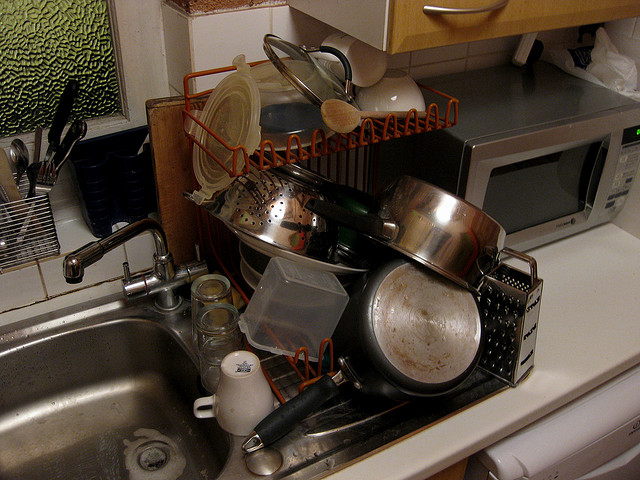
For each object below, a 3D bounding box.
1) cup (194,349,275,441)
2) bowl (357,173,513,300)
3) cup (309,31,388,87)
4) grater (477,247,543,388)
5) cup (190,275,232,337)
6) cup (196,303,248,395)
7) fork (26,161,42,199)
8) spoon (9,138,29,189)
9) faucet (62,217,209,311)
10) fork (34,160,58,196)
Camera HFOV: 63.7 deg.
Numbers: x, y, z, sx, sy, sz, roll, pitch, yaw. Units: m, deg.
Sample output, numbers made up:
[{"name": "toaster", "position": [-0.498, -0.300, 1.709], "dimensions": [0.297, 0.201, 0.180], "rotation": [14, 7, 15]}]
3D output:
[{"name": "cup", "position": [-0.154, 0.277, 1.032], "dimensions": [0.165, 0.168, 0.120], "rotation": [-10, 30, -14]}, {"name": "bowl", "position": [0.231, -0.019, 1.058], "dimensions": [0.315, 0.134, 0.188], "rotation": [34, 1, 6]}, {"name": "cup", "position": [0.063, -0.385, 1.102], "dimensions": [0.163, 0.094, 0.115], "rotation": [0, 44, -4]}, {"name": "grater", "position": [0.401, 0.159, 1.095], "dimensions": [0.090, 0.279, 0.121], "rotation": [-8, 17, -26]}, {"name": "cup", "position": [-0.233, 0.164, 1.158], "dimensions": [0.102, 0.163, 0.110], "rotation": [9, 28, -5]}, {"name": "cup", "position": [-0.214, 0.202, 1.108], "dimensions": [0.092, 0.181, 0.179], "rotation": [-8, 34, -16]}, {"name": "fork", "position": [-0.642, -0.135, 1.160], "dimensions": [0.011, 0.077, 0.037], "rotation": [4, 0, -30]}, {"name": "spoon", "position": [-0.687, -0.174, 1.174], "dimensions": [0.030, 0.124, 0.015], "rotation": [-1, 7, -12]}, {"name": "faucet", "position": [-0.403, 0.064, 1.166], "dimensions": [0.289, 0.258, 0.082], "rotation": [-16, 43, -27]}, {"name": "fork", "position": [-0.603, -0.133, 1.131], "dimensions": [0.040, 0.087, 0.038], "rotation": [19, 14, -18]}]
